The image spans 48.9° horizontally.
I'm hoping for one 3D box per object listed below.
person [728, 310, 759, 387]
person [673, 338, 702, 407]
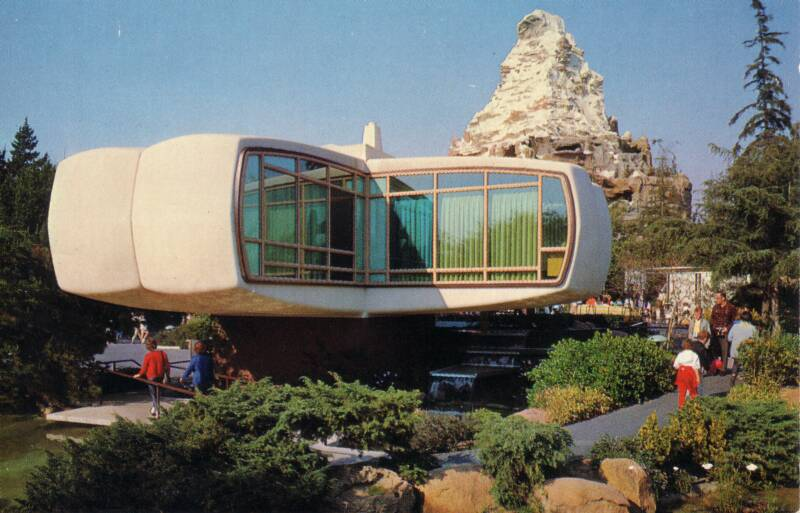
[{"bbox_3d":[9.999,2.665,26.184,0.879,2.148,1.038,-2,-7,-2],"label":"person"},{"bbox_3d":[7.560,3.088,23.312,0.662,1.762,1.180,-5,-7,17],"label":"person"}]
